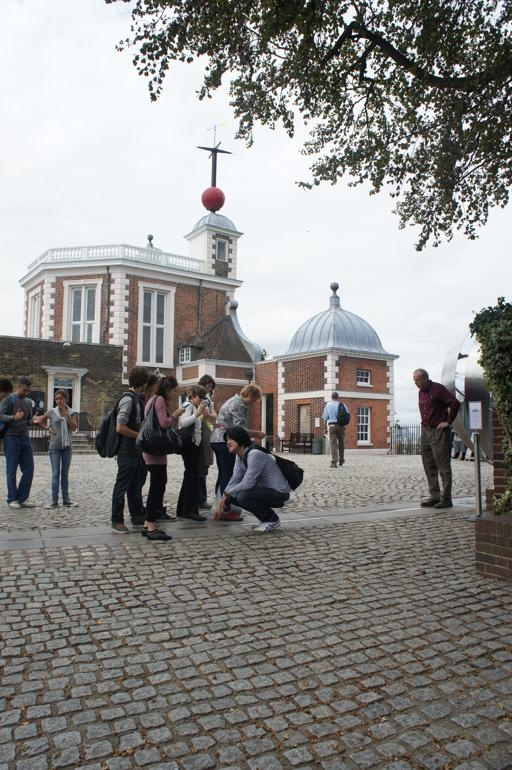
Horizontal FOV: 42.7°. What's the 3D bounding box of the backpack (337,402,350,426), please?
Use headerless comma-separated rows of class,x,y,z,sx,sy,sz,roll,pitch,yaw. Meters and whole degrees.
backpack,2.140,0.702,16.253,0.246,0.584,0.627,0,-3,10

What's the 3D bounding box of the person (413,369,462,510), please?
person,2.419,0.684,8.648,0.607,1.821,0.529,-2,-4,30

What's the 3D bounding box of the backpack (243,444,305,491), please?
backpack,0.214,0.937,7.334,0.664,0.645,0.407,-14,0,-6

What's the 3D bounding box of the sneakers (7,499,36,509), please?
sneakers,-3.102,1.578,8.698,0.384,0.167,0.141,-3,-3,14

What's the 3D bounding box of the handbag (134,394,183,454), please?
handbag,-1.003,0.312,6.472,0.394,0.864,0.560,9,-14,-11

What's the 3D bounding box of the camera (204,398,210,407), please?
camera,-0.570,0.188,7.684,0.058,0.091,0.095,2,0,-1

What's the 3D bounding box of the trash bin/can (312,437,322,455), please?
trash bin/can,2.342,2.287,25.003,0.483,0.702,0.484,-7,-9,42

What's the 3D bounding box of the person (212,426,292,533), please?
person,-0.042,0.999,7.094,0.833,1.142,0.623,-4,-8,-10
